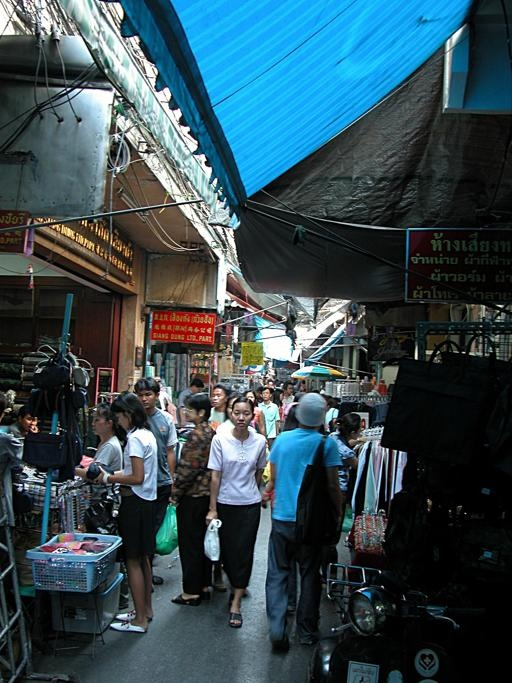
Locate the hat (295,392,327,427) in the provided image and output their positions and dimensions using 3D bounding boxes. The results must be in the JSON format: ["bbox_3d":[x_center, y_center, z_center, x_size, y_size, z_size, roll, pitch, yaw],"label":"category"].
[{"bbox_3d":[0.423,0.548,4.492,0.227,0.276,0.271,4,-8,5],"label":"hat"}]

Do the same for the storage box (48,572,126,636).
[{"bbox_3d":[-1.270,1.945,4.260,0.501,0.294,0.666,-1,-16,-1],"label":"storage box"}]

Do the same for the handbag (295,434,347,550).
[{"bbox_3d":[0.474,1.122,4.254,0.352,0.817,0.165,11,-10,-39],"label":"handbag"}]

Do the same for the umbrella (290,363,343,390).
[{"bbox_3d":[2.135,1.152,19.426,1.356,0.845,1.321,3,-2,-10],"label":"umbrella"}]

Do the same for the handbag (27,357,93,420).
[{"bbox_3d":[-1.368,0.359,3.949,0.398,0.373,0.335,6,-8,-6],"label":"handbag"}]

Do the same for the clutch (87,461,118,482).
[{"bbox_3d":[-1.223,1.052,4.525,0.165,0.105,0.231,18,-11,-29],"label":"clutch"}]

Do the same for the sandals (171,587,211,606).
[{"bbox_3d":[-0.565,2.204,4.939,0.287,0.073,0.127,-2,-16,18],"label":"sandals"}]

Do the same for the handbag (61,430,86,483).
[{"bbox_3d":[-1.278,0.799,3.964,0.120,0.363,0.344,7,-8,-13],"label":"handbag"}]

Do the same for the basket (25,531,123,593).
[{"bbox_3d":[-1.195,1.529,3.765,0.453,0.391,0.625,5,-8,1],"label":"basket"}]

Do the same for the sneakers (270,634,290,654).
[{"bbox_3d":[0.170,2.135,4.014,0.103,0.120,0.132,-8,-27,21],"label":"sneakers"}]

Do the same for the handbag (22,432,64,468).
[{"bbox_3d":[-1.398,0.736,3.794,0.273,0.252,0.159,7,-8,-17],"label":"handbag"}]

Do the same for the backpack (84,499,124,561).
[{"bbox_3d":[-1.248,1.516,4.714,0.364,0.509,0.168,-4,35,-2],"label":"backpack"}]

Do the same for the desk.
[{"bbox_3d":[-1.273,1.913,4.072,0.457,0.358,0.701,0,-1,3],"label":"desk"}]

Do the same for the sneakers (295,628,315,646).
[{"bbox_3d":[0.366,2.161,4.205,0.149,0.142,0.091,3,-9,12],"label":"sneakers"}]
